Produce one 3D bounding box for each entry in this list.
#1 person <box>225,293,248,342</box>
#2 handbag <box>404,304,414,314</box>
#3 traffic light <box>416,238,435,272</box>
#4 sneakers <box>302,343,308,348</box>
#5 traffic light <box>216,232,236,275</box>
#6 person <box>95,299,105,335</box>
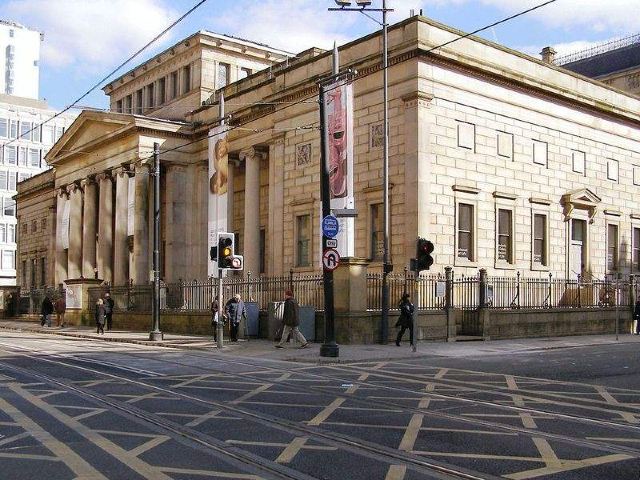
[{"bbox_3d":[-3.540,3.246,38.268,0.610,1.916,1.108,0,2,17],"label":"person"},{"bbox_3d":[3.376,2.603,34.883,0.273,0.383,0.102,14,-33,-36],"label":"handbag"},{"bbox_3d":[3.655,0.537,32.396,0.552,1.204,0.742,0,2,6],"label":"traffic light"},{"bbox_3d":[-0.591,3.967,34.544,0.194,0.234,0.502,1,0,-2],"label":"sneakers"},{"bbox_3d":[-3.573,0.427,34.595,0.584,1.382,0.793,0,2,6],"label":"traffic light"},{"bbox_3d":[-10.722,3.755,44.864,0.337,1.604,2.714,-1,2,-13],"label":"person"}]
